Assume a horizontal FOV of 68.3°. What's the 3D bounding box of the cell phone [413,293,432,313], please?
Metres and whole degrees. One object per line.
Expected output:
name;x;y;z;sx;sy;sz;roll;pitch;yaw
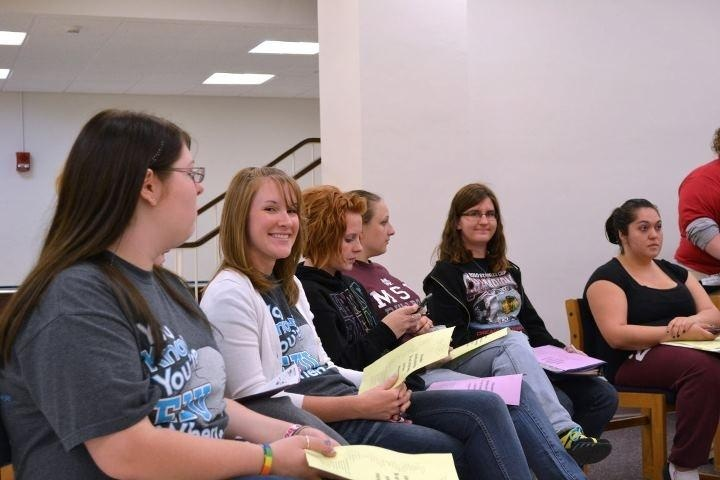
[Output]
cell phone;0.317;0.320;2.697;0.036;0.027;0.178;32;52;19
